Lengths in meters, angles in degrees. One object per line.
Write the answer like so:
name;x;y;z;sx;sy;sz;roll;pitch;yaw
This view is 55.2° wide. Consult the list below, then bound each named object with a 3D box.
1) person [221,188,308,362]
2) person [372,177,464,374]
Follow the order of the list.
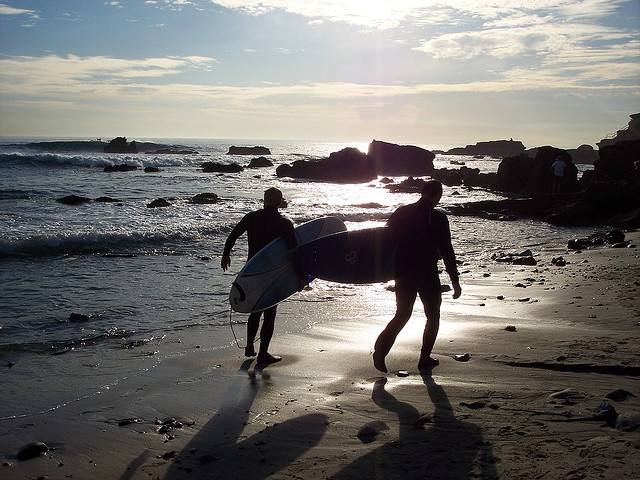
person;-0.610;0.381;7.297;0.818;2.019;0.859;-11;16;-38
person;1.022;0.385;6.453;0.929;2.041;0.481;-1;13;-2
